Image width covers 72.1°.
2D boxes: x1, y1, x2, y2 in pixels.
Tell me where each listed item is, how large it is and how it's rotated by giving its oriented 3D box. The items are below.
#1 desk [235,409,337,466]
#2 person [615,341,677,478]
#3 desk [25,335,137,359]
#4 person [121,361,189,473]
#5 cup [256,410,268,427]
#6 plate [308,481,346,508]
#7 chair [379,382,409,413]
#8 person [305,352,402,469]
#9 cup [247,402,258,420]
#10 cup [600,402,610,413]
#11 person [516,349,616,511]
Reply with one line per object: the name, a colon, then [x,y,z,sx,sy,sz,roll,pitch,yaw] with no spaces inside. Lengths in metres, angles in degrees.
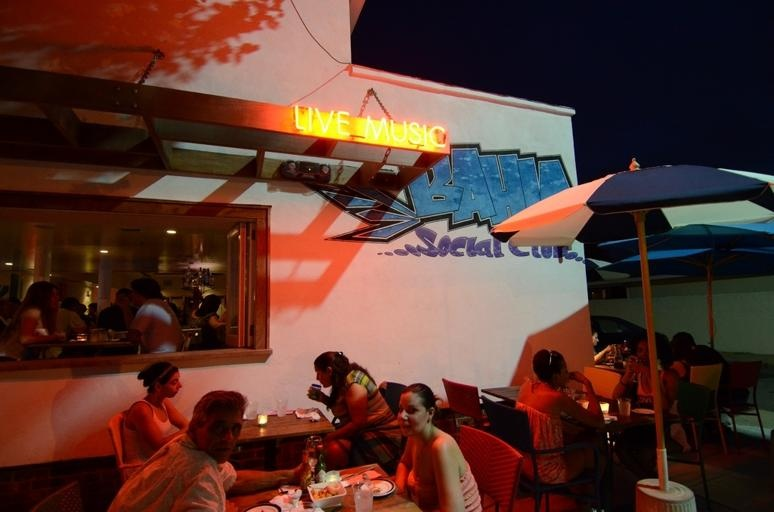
desk: [-1.522,2.514,7.264,1.110,1.000,1.096,6,-16,-22]
person: [3.635,2.245,7.670,1.005,2.370,0.798,0,-5,15]
desk: [-4.256,1.290,7.505,1.445,0.224,0.556,-1,-4,-6]
person: [-2.839,2.042,6.772,0.871,1.294,0.979,-4,-7,16]
cup: [-1.663,2.168,7.056,0.133,0.148,0.131,0,-4,0]
plate: [-0.627,2.501,5.578,0.371,0.193,0.270,0,-4,-17]
chair: [0.043,2.062,7.900,0.527,0.524,0.402,-2,-4,-6]
person: [-0.460,2.418,7.316,1.301,2.008,1.016,1,-10,1]
cup: [-1.840,2.107,7.221,0.190,0.189,0.182,2,-3,0]
cup: [2.975,2.067,7.266,0.152,0.150,0.151,0,-5,0]
person: [2.360,2.324,7.078,1.298,2.197,0.938,-3,6,-21]
